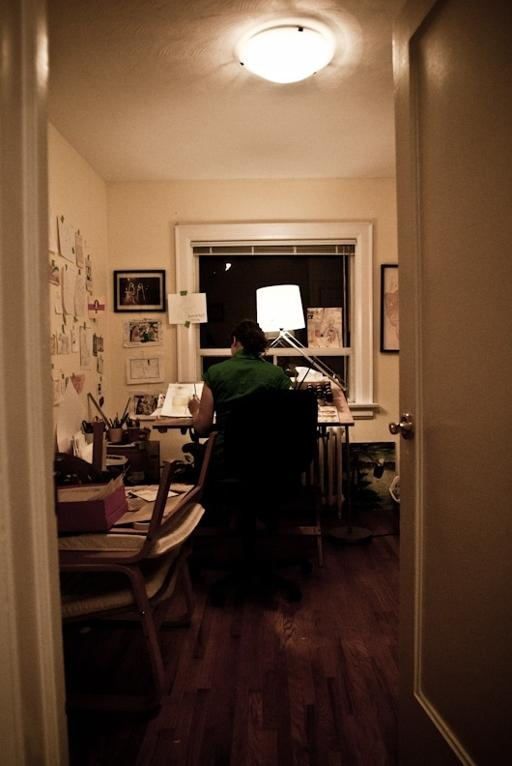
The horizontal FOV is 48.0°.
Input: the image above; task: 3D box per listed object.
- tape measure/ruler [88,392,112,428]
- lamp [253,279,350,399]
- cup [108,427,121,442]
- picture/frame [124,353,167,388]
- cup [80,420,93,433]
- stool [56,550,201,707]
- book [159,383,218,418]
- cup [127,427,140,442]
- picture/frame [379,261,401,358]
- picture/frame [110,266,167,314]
[{"bbox_3d":[-0.939,0.151,3.447,0.036,0.221,0.037,-27,12,-16],"label":"tape measure/ruler"},{"bbox_3d":[0.292,-0.276,3.483,0.541,0.603,0.218,4,9,7],"label":"lamp"},{"bbox_3d":[-0.825,0.299,3.431,0.072,0.086,0.074,0,-9,0],"label":"cup"},{"bbox_3d":[-0.762,-0.106,3.940,0.216,0.198,0.022,0,5,-3],"label":"picture/frame"},{"bbox_3d":[-0.974,0.243,3.302,0.076,0.110,0.112,1,-5,-17],"label":"cup"},{"bbox_3d":[-0.388,0.657,1.647,0.300,0.497,0.398,0,1,7],"label":"stool"},{"bbox_3d":[-0.448,0.094,3.380,0.202,0.056,0.225,1,32,-2],"label":"book"},{"bbox_3d":[-0.727,0.296,3.418,0.070,0.090,0.073,0,-8,0],"label":"cup"},{"bbox_3d":[0.897,-0.505,3.922,0.017,0.582,0.312,1,8,30],"label":"picture/frame"},{"bbox_3d":[-0.799,-0.655,3.905,0.292,0.266,0.027,0,2,-3],"label":"picture/frame"}]
